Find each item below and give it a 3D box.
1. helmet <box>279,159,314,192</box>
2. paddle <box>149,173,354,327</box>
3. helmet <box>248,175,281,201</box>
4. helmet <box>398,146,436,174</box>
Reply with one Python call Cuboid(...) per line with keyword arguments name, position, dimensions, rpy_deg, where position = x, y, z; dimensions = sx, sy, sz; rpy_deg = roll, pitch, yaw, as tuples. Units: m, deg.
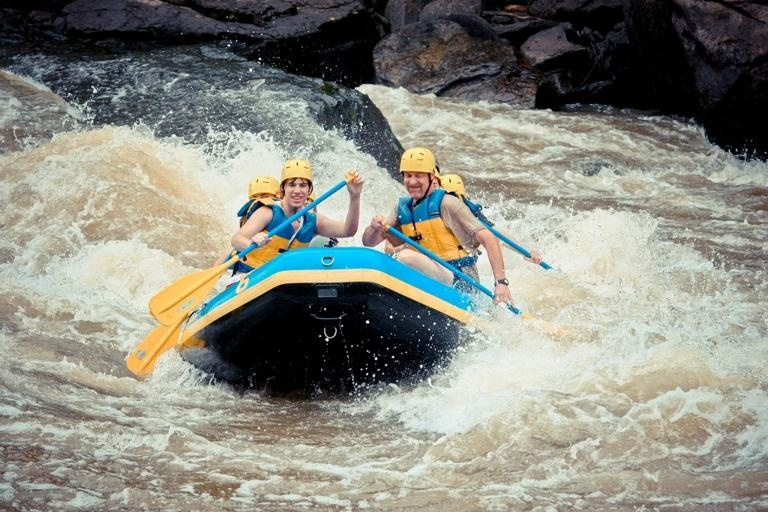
Cuboid(name="helmet", position=(-0.900, -0.847, 8.596), dimensions=(0.317, 0.375, 0.318), rpy_deg=(2, 105, -6))
Cuboid(name="paddle", position=(-1.269, -0.172, 8.852), dimensions=(2.952, 0.403, 0.224), rpy_deg=(-38, 94, -30))
Cuboid(name="helmet", position=(-1.279, -0.712, 8.895), dimensions=(0.255, 0.290, 0.224), rpy_deg=(-6, 69, 13))
Cuboid(name="helmet", position=(0.358, -0.950, 8.654), dimensions=(0.277, 0.321, 0.234), rpy_deg=(-2, 47, 12))
